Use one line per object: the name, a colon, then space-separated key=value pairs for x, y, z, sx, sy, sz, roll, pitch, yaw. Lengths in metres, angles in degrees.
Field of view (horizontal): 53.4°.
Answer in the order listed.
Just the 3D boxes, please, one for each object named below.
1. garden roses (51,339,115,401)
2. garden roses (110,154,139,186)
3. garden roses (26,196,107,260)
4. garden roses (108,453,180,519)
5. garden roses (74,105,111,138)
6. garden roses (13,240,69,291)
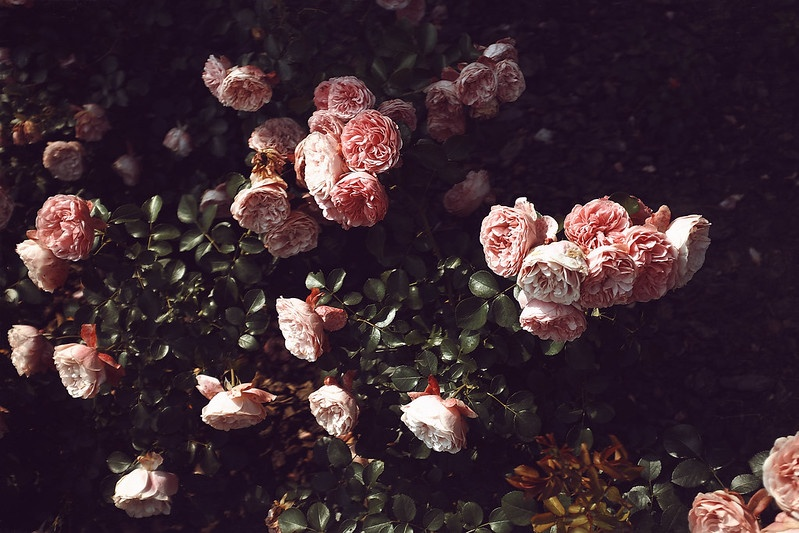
garden roses: x=-0.830 y=0.263 z=2.081 sx=0.114 sy=0.097 sz=0.128 roll=-24 pitch=56 yaw=-6
garden roses: x=-0.728 y=-0.259 z=2.127 sx=0.071 sy=0.032 sz=0.081 roll=-31 pitch=94 yaw=11
garden roses: x=-0.889 y=-0.120 z=2.122 sx=0.222 sy=0.210 sz=0.118 roll=16 pitch=77 yaw=-13
garden roses: x=-0.672 y=0.590 z=2.117 sx=0.166 sy=0.089 sz=0.169 roll=14 pitch=70 yaw=-18
garden roses: x=-0.826 y=-0.382 z=2.140 sx=0.088 sy=0.034 sz=0.090 roll=28 pitch=95 yaw=1
garden roses: x=-0.941 y=0.001 z=2.094 sx=0.079 sy=0.136 sz=0.142 roll=-36 pitch=37 yaw=-7
